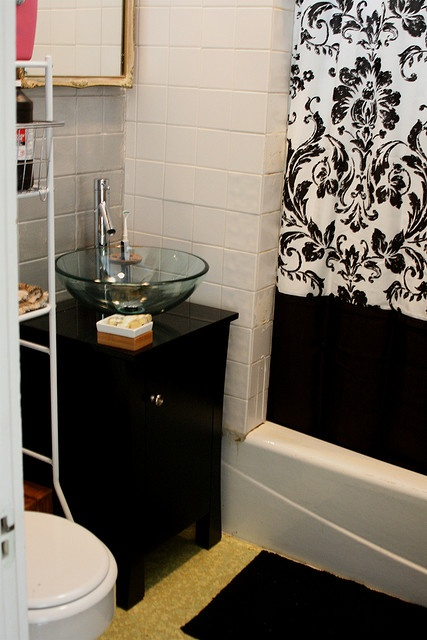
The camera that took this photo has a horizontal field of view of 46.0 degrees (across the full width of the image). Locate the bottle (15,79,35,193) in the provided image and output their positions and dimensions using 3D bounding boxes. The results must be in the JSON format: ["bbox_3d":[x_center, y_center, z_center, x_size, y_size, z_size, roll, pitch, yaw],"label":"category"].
[{"bbox_3d":[-0.409,-0.388,1.095,0.037,0.216,0.176,-3,11,-21],"label":"bottle"}]

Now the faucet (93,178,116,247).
[{"bbox_3d":[-0.378,-0.364,1.729,0.058,0.228,0.183,-2,11,-14],"label":"faucet"}]
